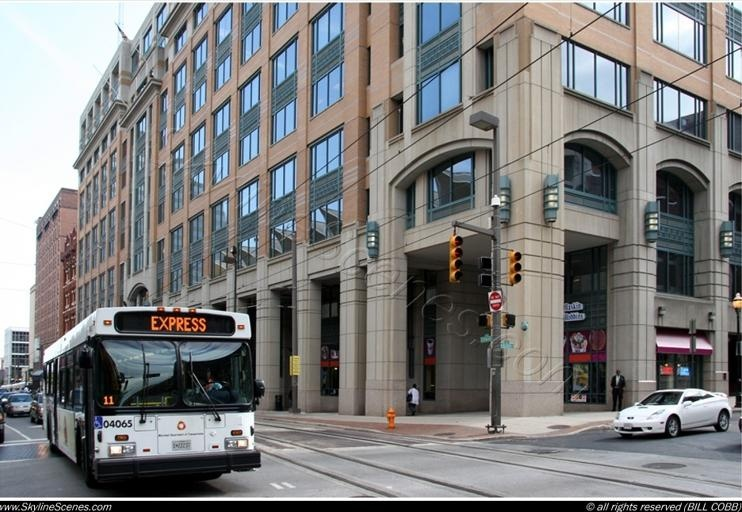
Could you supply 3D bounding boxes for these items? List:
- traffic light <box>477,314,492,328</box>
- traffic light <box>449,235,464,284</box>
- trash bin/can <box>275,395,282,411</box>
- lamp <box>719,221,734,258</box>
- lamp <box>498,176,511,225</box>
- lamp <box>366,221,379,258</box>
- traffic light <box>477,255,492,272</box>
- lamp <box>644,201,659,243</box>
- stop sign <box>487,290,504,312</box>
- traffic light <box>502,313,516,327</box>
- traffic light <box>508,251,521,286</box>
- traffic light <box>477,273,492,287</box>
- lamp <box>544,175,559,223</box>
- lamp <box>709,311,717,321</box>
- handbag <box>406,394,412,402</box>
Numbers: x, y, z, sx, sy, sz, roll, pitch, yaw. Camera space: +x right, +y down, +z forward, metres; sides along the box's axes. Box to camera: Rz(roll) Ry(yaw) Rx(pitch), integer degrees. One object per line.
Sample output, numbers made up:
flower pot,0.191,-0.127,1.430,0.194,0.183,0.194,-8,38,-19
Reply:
traffic light,4.412,2.565,32.178,0.540,0.549,0.516,2,-1,-43
traffic light,3.146,0.075,30.588,0.422,1.747,0.515,-1,-2,-4
trash bin/can,-5.961,9.424,52.794,0.458,0.945,1.000,-1,-3,-9
lamp,19.474,-0.873,45.056,0.678,1.958,0.411,-2,-2,13
lamp,6.105,-2.585,37.622,0.596,1.934,0.682,0,-1,34
lamp,0.082,-0.803,43.548,0.706,1.934,0.751,1,-3,-14
traffic light,4.824,0.304,34.929,0.903,0.807,0.460,4,-2,-35
lamp,14.242,-1.710,41.756,0.709,1.937,0.796,3,-4,-35
stop sign,4.900,1.795,32.329,0.497,0.863,0.831,-1,-3,5
traffic light,5.440,2.584,32.490,0.417,0.473,0.818,-3,-4,40
traffic light,5.604,0.444,31.861,0.380,1.321,1.313,-2,-3,15
traffic light,4.676,1.025,33.786,0.712,0.694,0.374,4,-2,-34
lamp,8.158,-2.556,37.389,0.689,2.144,0.519,-2,-2,28
lamp,18.399,3.298,44.303,0.505,0.449,0.260,3,-2,-31
handbag,1.973,7.392,42.481,0.111,0.424,0.734,-1,-3,-12
